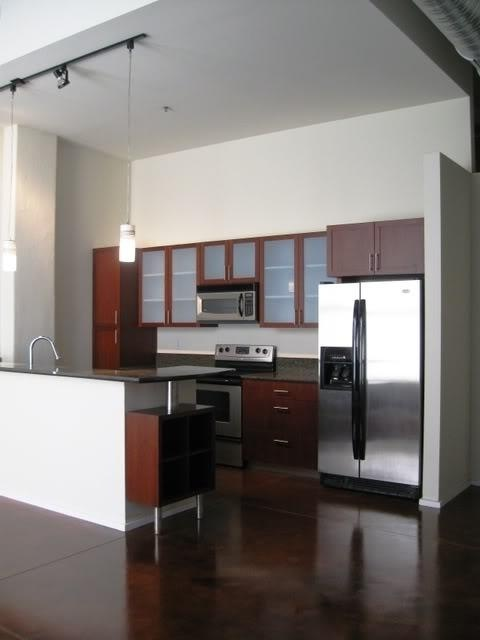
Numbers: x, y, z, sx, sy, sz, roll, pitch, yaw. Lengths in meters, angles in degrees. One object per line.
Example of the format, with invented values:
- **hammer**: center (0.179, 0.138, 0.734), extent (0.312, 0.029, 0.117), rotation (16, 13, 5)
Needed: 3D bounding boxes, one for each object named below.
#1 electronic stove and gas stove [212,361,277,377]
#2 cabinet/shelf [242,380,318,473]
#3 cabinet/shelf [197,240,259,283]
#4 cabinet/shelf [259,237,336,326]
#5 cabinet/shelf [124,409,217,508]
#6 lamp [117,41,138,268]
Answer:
- **electronic stove and gas stove**: center (0.084, 0.411, 4.977), extent (0.468, 0.108, 0.911), rotation (1, 3, -17)
- **cabinet/shelf**: center (0.336, 0.698, 4.490), extent (0.756, 0.966, 0.540), rotation (-1, -3, 31)
- **cabinet/shelf**: center (-0.102, -0.538, 5.028), extent (0.512, 0.439, 0.317), rotation (1, 0, 31)
- **cabinet/shelf**: center (0.505, -0.323, 4.522), extent (0.587, 0.737, 0.247), rotation (-1, -2, 35)
- **cabinet/shelf**: center (-0.417, 0.781, 3.095), extent (0.221, 0.500, 0.439), rotation (-6, -13, 32)
- **lamp**: center (-0.661, -0.984, 3.203), extent (0.103, 1.252, 0.115), rotation (12, 21, 19)
